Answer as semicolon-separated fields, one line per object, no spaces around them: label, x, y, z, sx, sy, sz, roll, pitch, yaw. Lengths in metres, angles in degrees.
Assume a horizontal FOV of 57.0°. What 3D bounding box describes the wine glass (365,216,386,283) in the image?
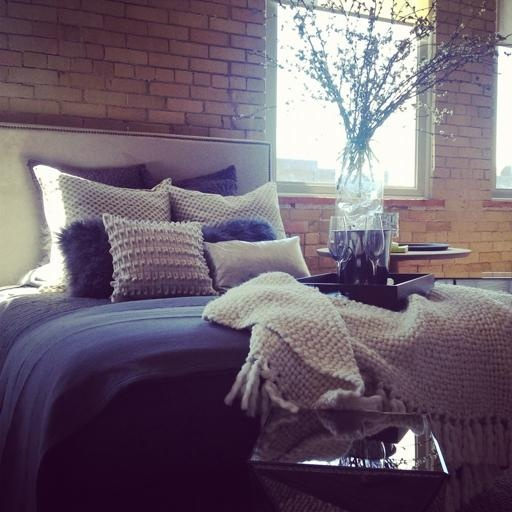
wine glass;0.408;-0.026;1.598;0.072;0.209;0.208;2;14;14

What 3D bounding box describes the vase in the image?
vase;0.446;-0.318;2.037;0.200;0.344;0.255;1;14;12

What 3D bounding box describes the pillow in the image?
pillow;-0.356;-0.150;1.976;1.112;0.465;0.710;-5;14;-13

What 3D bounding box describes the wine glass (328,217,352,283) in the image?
wine glass;0.295;-0.030;1.665;0.073;0.229;0.208;0;14;9
